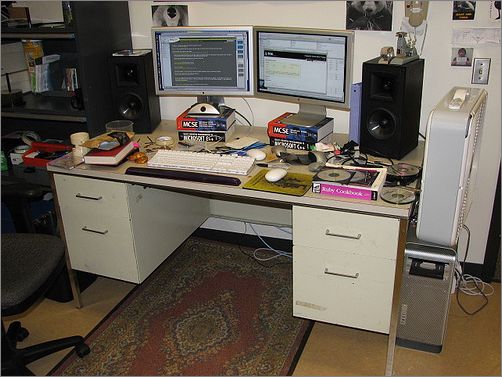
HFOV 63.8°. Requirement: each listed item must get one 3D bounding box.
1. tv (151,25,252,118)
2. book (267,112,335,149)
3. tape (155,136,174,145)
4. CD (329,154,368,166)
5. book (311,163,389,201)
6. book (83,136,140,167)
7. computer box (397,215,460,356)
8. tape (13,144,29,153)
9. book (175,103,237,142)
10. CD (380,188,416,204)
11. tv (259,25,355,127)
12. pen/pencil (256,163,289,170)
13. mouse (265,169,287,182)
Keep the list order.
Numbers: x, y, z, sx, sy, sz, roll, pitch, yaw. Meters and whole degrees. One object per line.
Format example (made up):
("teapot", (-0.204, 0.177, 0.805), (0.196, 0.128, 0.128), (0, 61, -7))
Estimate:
("tv", (-0.292, -0.730, 2.443), (0.711, 0.453, 0.194), (3, 32, 8))
("book", (0.272, -0.392, 2.259), (0.314, 0.136, 0.221), (12, 32, 25))
("tape", (-0.513, -0.281, 2.387), (0.070, 0.026, 0.067), (-10, 23, -24))
("CD", (0.498, -0.145, 2.090), (0.108, 0.023, 0.098), (6, 23, 17))
("book", (0.461, -0.038, 1.882), (0.299, 0.073, 0.271), (9, 25, 21))
("book", (-0.748, -0.198, 2.117), (0.182, 0.038, 0.174), (7, 31, 23))
("computer box", (0.850, 0.605, 2.124), (0.346, 0.489, 0.321), (6, -12, 20))
("tape", (-1.524, -0.261, 2.676), (0.069, 0.022, 0.065), (-6, 18, -22))
("book", (-0.280, -0.379, 2.409), (0.289, 0.164, 0.274), (5, 25, 13))
("CD", (0.650, 0.029, 1.783), (0.142, 0.019, 0.187), (11, 25, 25))
("tv", (0.319, -0.650, 2.258), (0.617, 0.485, 0.174), (10, 33, 23))
("pen/pencil", (0.105, -0.112, 2.073), (0.132, 0.018, 0.019), (5, 50, 9))
("mouse", (0.125, -0.064, 1.948), (0.128, 0.049, 0.063), (-21, 31, -40))
